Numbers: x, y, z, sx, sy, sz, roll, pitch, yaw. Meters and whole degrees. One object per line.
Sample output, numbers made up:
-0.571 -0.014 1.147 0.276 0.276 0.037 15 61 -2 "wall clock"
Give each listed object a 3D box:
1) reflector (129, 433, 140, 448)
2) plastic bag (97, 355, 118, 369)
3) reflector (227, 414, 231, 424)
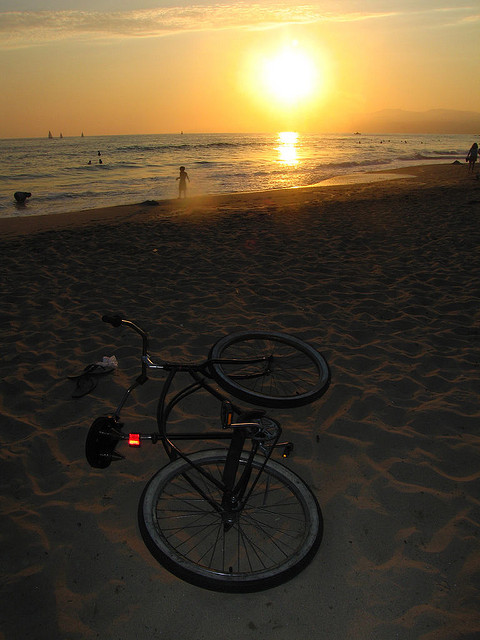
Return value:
-0.725 0.827 3.567 0.072 0.083 0.089 -5 19 -12 "reflector"
-1.592 0.505 6.191 0.252 0.114 0.147 2 -2 -22 "plastic bag"
-0.069 0.649 3.409 0.011 0.044 0.045 5 -12 -7 "reflector"
